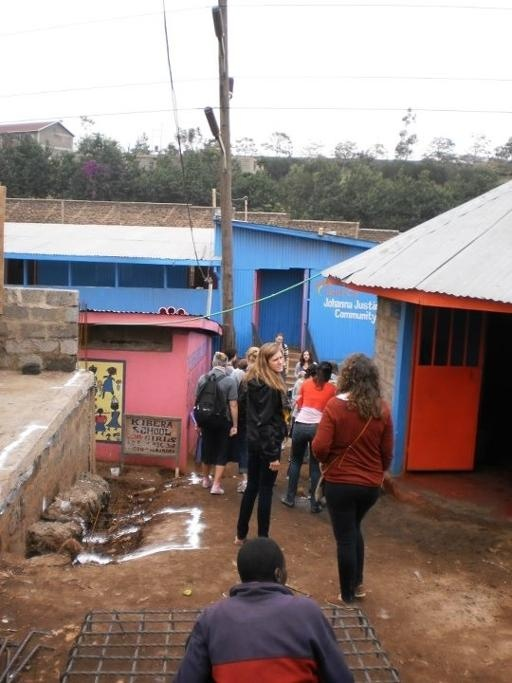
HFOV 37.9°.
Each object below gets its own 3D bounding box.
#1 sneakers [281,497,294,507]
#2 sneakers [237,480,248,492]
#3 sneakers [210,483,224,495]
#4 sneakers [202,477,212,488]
[{"bbox_3d":[0.299,1.489,6.997,0.055,0.065,0.138,1,11,-22],"label":"sneakers"},{"bbox_3d":[-0.133,1.491,7.724,0.092,0.120,0.277,2,-12,0],"label":"sneakers"},{"bbox_3d":[-0.395,1.494,7.572,0.066,0.078,0.169,2,7,8],"label":"sneakers"},{"bbox_3d":[-0.511,1.459,7.798,0.056,0.074,0.168,3,14,8],"label":"sneakers"}]
